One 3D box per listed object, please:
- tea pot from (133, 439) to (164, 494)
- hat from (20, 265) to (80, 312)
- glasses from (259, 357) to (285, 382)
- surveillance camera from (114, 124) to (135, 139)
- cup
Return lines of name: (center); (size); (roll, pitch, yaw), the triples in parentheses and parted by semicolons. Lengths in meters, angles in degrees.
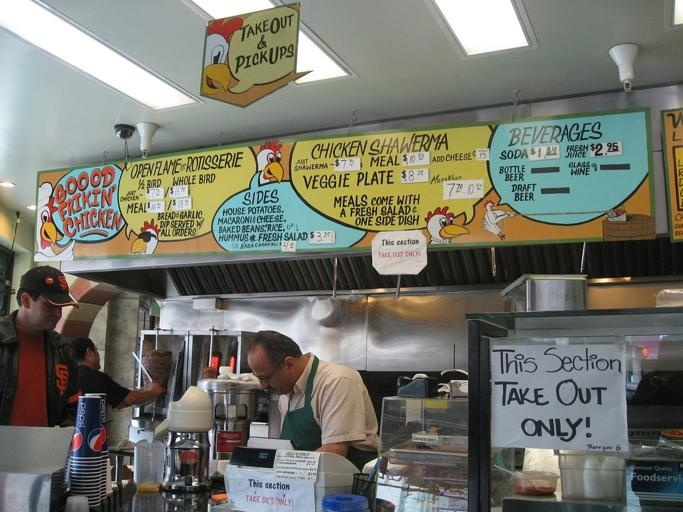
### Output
tea pot: (-0.861, 0.945, 2.641); (0.155, 0.249, 0.150); (-1, -16, 0)
hat: (-1.551, 0.161, 3.124); (0.261, 0.168, 0.189); (3, -11, 6)
glasses: (-0.358, 0.595, 3.081); (0.035, 0.118, 0.111); (38, -37, -23)
surveillance camera: (-1.678, -0.960, 4.577); (0.111, 0.081, 0.114); (1, -11, -2)
cup: (-0.967, 0.739, 2.253); (0.127, 0.406, 0.104); (5, -14, -24)
